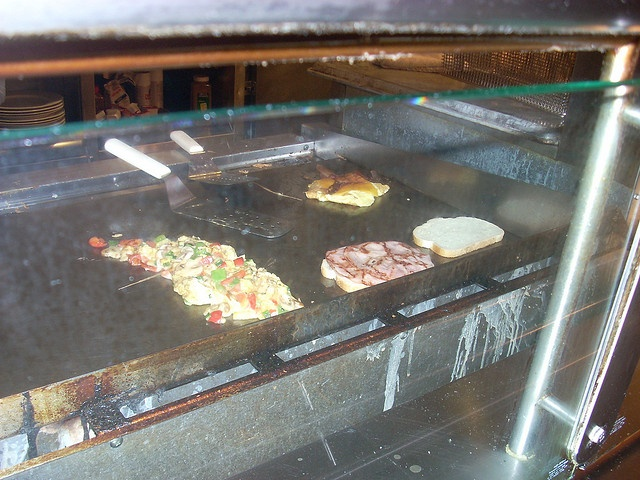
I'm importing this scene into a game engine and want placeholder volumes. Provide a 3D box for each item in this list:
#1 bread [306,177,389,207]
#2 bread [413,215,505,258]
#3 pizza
[{"bbox_3d":[0.075,-0.141,1.432,0.162,0.020,0.109,8,34,15],"label":"bread"},{"bbox_3d":[0.351,-0.016,1.294,0.202,0.068,0.151,-7,29,-10],"label":"bread"},{"bbox_3d":[-0.277,0.065,1.085,0.505,0.055,0.187,16,33,21],"label":"pizza"}]
